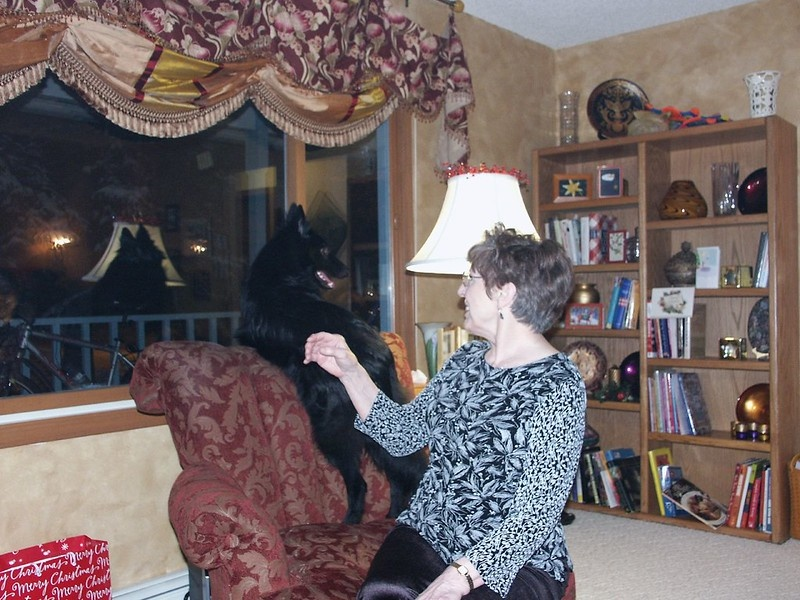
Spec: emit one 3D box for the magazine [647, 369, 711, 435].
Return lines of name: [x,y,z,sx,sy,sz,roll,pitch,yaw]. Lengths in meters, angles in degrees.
magazine: [1.655,0.592,4.130,0.377,0.360,0.220,0,-1,-22]

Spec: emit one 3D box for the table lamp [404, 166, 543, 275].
table lamp: [0.265,-0.320,2.868,0.458,0.295,0.489,1,1,32]

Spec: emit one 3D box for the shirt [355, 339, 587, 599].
shirt: [0.263,0.382,2.273,0.608,0.698,0.784,18,-2,-40]

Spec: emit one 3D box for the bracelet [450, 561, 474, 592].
bracelet: [0.176,0.751,1.964,0.046,0.081,0.083,-22,-33,-17]

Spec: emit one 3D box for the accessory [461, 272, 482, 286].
accessory: [0.227,-0.070,2.235,0.044,0.016,0.044,22,11,22]

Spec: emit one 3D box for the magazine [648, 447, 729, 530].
magazine: [1.620,1.083,4.060,0.304,0.206,0.423,-27,24,21]
